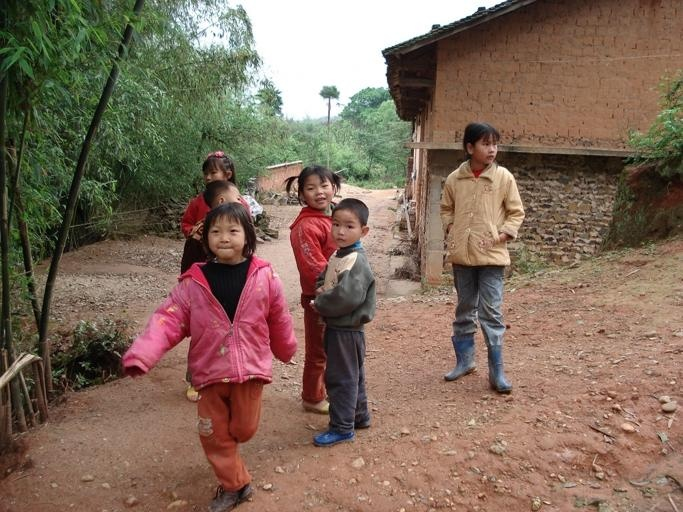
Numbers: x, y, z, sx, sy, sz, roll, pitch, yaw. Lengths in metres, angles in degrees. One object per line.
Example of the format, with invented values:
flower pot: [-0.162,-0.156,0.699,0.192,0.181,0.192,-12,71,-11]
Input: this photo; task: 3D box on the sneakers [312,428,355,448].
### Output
sneakers: [-0.059,1.241,3.569,0.269,0.124,0.109,4,1,-7]

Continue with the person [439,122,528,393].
person: [1.072,-0.013,4.064,0.632,2.031,0.508,1,6,25]

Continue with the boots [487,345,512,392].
boots: [1.193,0.837,3.909,0.171,0.357,0.220,-1,5,9]

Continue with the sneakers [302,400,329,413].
sneakers: [-0.210,1.159,3.989,0.173,0.084,0.089,-3,6,10]

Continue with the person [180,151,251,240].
person: [-1.088,-0.491,4.330,0.469,0.749,0.405,-1,-7,10]

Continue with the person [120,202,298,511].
person: [-0.740,0.574,3.079,0.965,1.624,0.322,-4,6,-24]

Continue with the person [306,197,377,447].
person: [-0.001,0.440,3.537,0.444,1.671,0.368,-2,5,-6]

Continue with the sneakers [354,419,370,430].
sneakers: [0.145,1.199,3.700,0.121,0.059,0.046,-4,10,-9]
